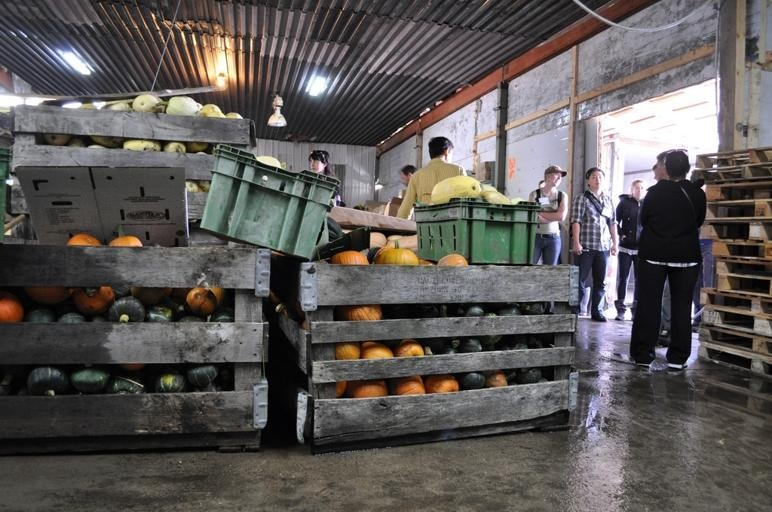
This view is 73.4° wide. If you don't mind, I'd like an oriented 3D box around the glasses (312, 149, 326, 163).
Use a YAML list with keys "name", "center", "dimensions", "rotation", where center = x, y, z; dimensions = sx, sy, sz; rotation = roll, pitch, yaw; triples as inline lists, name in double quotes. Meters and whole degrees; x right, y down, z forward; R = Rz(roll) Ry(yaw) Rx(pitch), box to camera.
- name: "glasses"
  center: [-0.963, -1.467, 7.597]
  dimensions: [0.165, 0.182, 0.229]
  rotation: [12, 24, 43]

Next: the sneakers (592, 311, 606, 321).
- name: "sneakers"
  center: [3.312, 0.959, 8.035]
  dimensions: [0.206, 0.115, 0.221]
  rotation: [6, 14, 18]

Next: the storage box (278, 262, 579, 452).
- name: "storage box"
  center: [0.305, 0.743, 3.792]
  dimensions: [1.678, 0.888, 1.621]
  rotation: [1, -2, -33]

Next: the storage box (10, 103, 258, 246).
- name: "storage box"
  center: [-2.097, -0.618, 3.958]
  dimensions: [1.410, 0.812, 1.339]
  rotation: [1, 1, -20]

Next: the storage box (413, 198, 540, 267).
- name: "storage box"
  center: [0.760, -0.199, 4.563]
  dimensions: [0.704, 0.484, 1.054]
  rotation: [2, 2, -14]

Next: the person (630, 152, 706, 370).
- name: "person"
  center: [3.114, 0.015, 5.663]
  dimensions: [0.691, 2.236, 0.660]
  rotation: [3, 6, 21]

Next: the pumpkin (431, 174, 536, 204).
- name: "pumpkin"
  center: [0.727, -0.542, 4.387]
  dimensions: [0.452, 0.152, 0.428]
  rotation: [7, 6, -22]

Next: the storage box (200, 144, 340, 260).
- name: "storage box"
  center: [-0.716, -0.335, 3.881]
  dimensions: [0.983, 0.606, 0.660]
  rotation: [17, 0, 21]
